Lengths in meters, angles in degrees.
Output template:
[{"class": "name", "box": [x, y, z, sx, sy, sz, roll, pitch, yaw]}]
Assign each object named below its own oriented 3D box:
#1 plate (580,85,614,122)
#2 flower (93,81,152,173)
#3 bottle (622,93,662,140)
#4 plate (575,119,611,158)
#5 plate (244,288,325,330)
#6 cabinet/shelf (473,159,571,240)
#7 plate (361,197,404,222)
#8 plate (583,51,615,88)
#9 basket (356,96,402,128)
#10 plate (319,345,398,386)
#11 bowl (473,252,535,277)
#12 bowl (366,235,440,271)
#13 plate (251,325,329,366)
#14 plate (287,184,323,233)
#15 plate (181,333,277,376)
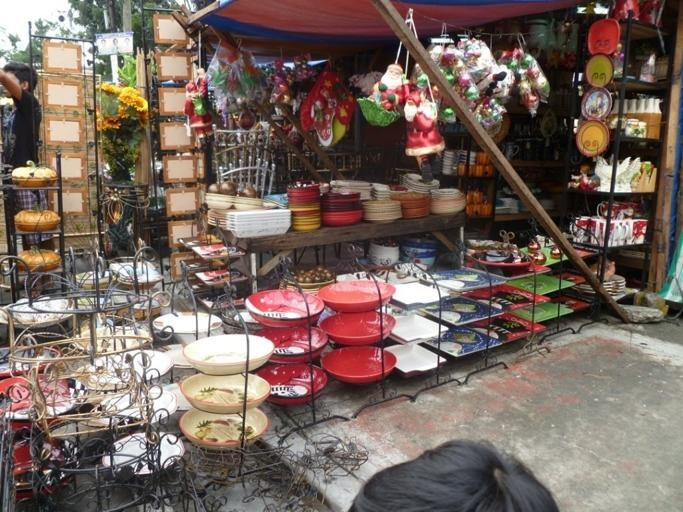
[{"class": "plate", "box": [2.579, -1.550, 5.309, 0.112, 0.338, 0.328, -12, 15, -24]}, {"class": "flower", "box": [-2.814, -1.685, 6.716, 0.621, 1.089, 1.434, -11, 13, -21]}, {"class": "bottle", "box": [3.173, -1.451, 5.510, 0.353, 0.437, 0.448, 2, 14, 27]}, {"class": "plate", "box": [2.583, -1.226, 5.389, 0.223, 0.378, 0.321, -5, 13, 2]}, {"class": "plate", "box": [-0.442, 0.383, 3.907, 0.454, 0.094, 0.453, 19, 28, 37]}, {"class": "cabinet/shelf", "box": [2.235, -0.728, 6.543, 1.744, 1.133, 0.467, 1, 4, -11]}, {"class": "plate", "box": [0.422, -0.500, 5.602, 0.326, 0.110, 0.300, -10, 16, -32]}, {"class": "plate", "box": [2.590, -1.873, 5.257, 0.075, 0.334, 0.272, -13, 15, -27]}, {"class": "basket", "box": [0.332, -1.242, 4.412, 0.280, 0.227, 0.477, -8, 12, -17]}, {"class": "plate", "box": [0.135, 0.892, 4.077, 0.586, 0.419, 0.444, -4, 12, 1]}, {"class": "bowl", "box": [1.630, 0.090, 5.215, 0.432, 0.073, 0.386, -3, 8, -24]}, {"class": "bowl", "box": [0.768, -0.055, 6.436, 0.806, 0.222, 0.426, 0, 5, 2]}, {"class": "plate", "box": [-0.380, 0.666, 3.948, 0.498, 0.086, 0.414, -3, 17, -15]}, {"class": "plate", "box": [-0.382, -0.485, 5.240, 0.283, 0.451, 0.330, -1, 14, 17]}, {"class": "plate", "box": [-0.718, 0.610, 3.273, 0.481, 0.095, 0.423, 6, 12, 19]}]
